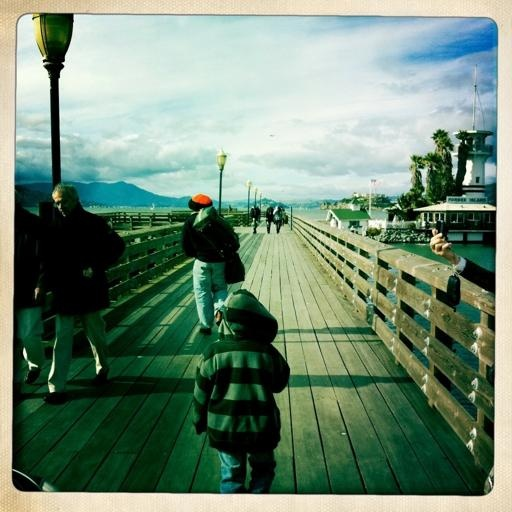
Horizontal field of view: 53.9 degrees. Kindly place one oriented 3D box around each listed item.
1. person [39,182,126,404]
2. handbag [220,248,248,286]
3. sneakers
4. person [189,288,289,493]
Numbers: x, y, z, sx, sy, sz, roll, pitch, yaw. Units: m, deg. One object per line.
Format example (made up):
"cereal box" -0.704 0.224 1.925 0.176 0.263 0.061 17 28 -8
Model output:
"person" -1.345 0.272 3.964 0.656 1.665 0.350 -5 10 -26
"handbag" -0.239 0.131 5.529 0.243 0.473 0.451 -5 12 -2
"sneakers" -1.470 1.043 4.001 0.555 0.263 0.176 6 0 -18
"person" -0.075 0.766 2.632 0.491 1.206 0.312 0 9 3
